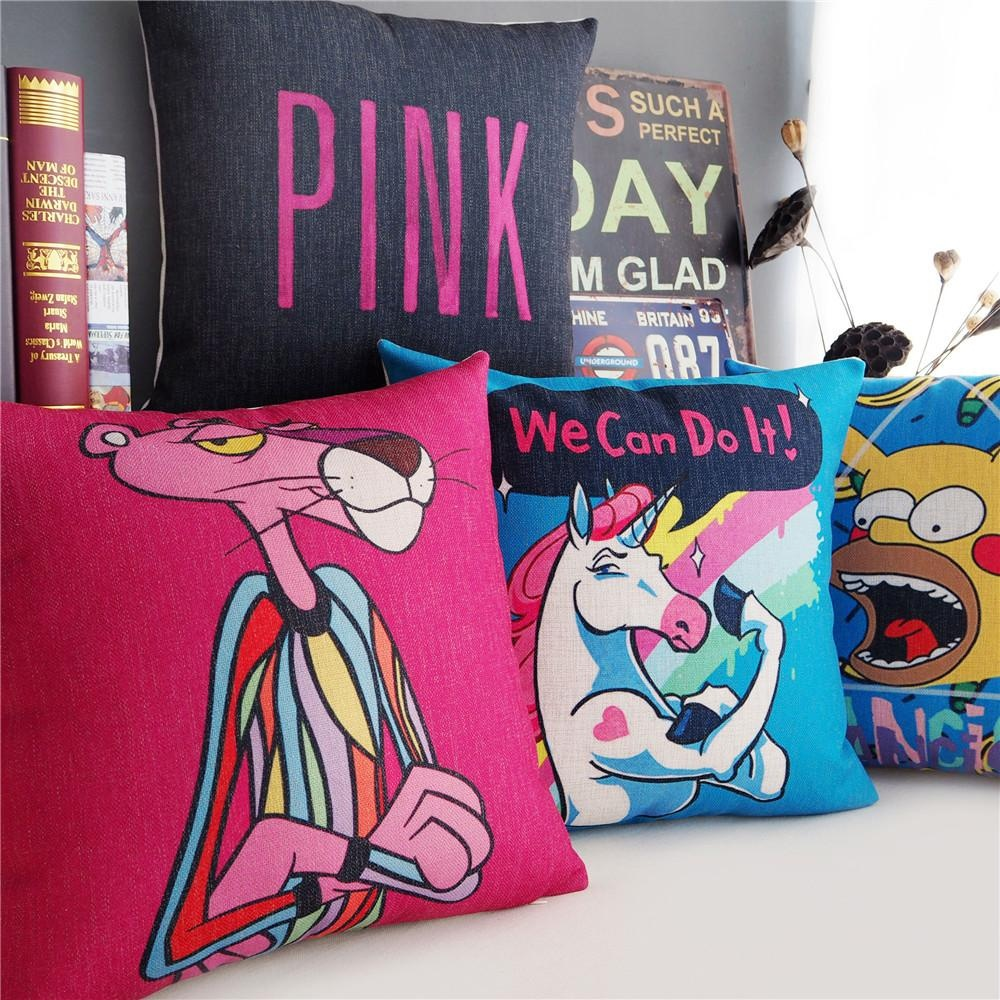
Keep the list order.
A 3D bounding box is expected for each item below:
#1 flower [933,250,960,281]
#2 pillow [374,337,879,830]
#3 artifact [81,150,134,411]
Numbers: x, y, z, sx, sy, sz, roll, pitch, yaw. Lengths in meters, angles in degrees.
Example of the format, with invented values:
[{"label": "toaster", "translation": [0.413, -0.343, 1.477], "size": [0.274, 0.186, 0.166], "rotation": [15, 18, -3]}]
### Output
[{"label": "flower", "translation": [0.694, -0.355, 1.831], "size": [0.043, 0.062, 0.023], "rotation": [-1, 0, 16]}, {"label": "pillow", "translation": [0.148, 0.095, 1.152], "size": [0.437, 0.458, 0.177], "rotation": [-2, 1, -7]}, {"label": "artifact", "translation": [-0.396, -0.217, 1.204], "size": [0.043, 0.206, 0.194], "rotation": [1, -2, -7]}]
